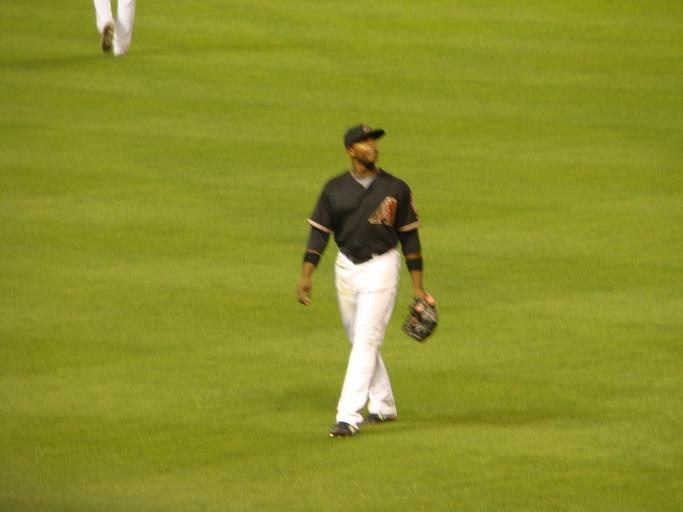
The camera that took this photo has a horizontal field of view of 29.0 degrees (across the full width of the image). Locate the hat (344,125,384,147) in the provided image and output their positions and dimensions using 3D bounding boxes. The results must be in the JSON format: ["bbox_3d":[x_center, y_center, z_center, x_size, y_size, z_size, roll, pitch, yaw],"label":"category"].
[{"bbox_3d":[0.218,-1.230,13.222,0.310,0.114,0.227,-20,0,12],"label":"hat"}]

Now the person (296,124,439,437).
[{"bbox_3d":[0.205,0.176,13.379,1.048,2.828,1.110,-15,32,-42],"label":"person"}]

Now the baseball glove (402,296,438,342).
[{"bbox_3d":[0.792,0.535,13.520,0.331,0.505,0.316,-6,34,-10],"label":"baseball glove"}]

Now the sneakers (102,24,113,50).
[{"bbox_3d":[-2.744,-2.549,15.377,0.088,0.263,0.149,5,7,32],"label":"sneakers"}]
